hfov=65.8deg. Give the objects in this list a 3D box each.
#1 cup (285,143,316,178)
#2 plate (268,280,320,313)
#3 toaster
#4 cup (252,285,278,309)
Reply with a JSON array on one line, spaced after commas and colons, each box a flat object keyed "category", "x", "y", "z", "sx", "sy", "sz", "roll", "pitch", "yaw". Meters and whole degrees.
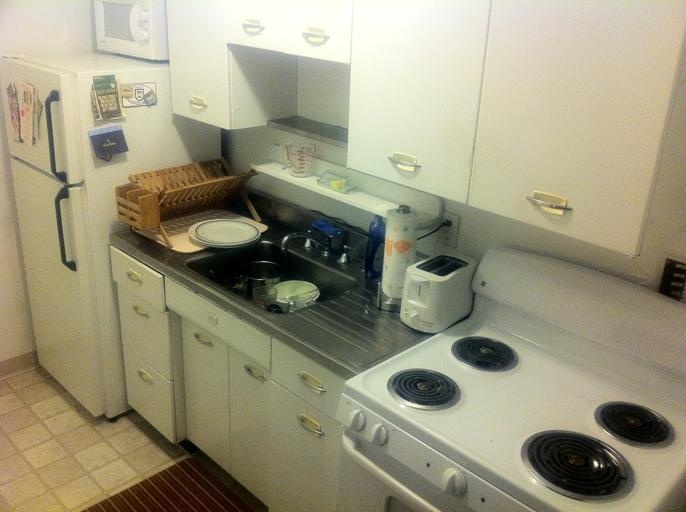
[{"category": "cup", "x": -0.205, "y": -0.464, "z": 2.570, "sx": 0.147, "sy": 0.144, "sz": 0.130, "roll": 2, "pitch": 28, "yaw": -1}, {"category": "plate", "x": -0.213, "y": 0.184, "z": 2.409, "sx": 0.161, "sy": 0.061, "sz": 0.143, "roll": 8, "pitch": 30, "yaw": 14}, {"category": "toaster", "x": 0.365, "y": 0.142, "z": 2.072, "sx": 0.181, "sy": 0.230, "sz": 0.324, "roll": 24, "pitch": 28, "yaw": 39}, {"category": "cup", "x": -0.346, "y": 0.183, "z": 2.402, "sx": 0.098, "sy": 0.067, "sz": 0.094, "roll": 8, "pitch": 32, "yaw": -5}]
